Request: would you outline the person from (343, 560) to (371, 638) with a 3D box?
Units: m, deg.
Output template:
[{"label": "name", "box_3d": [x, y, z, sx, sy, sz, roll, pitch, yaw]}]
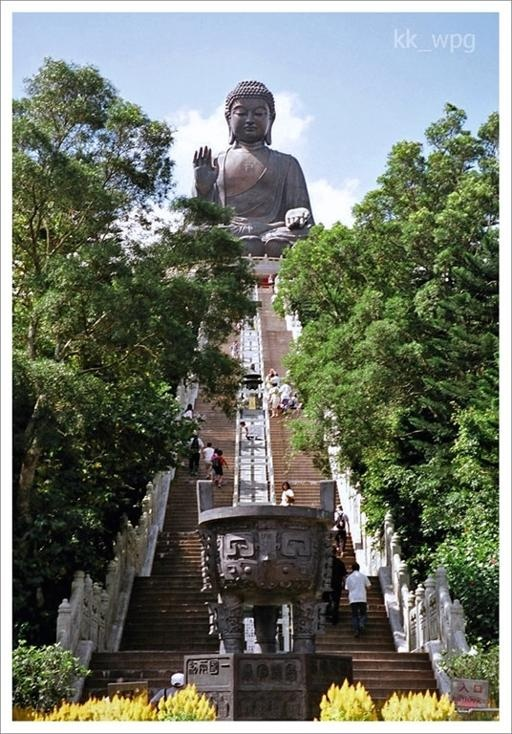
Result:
[{"label": "person", "box_3d": [1.302, 2.993, 8.584, 0.264, 0.865, 0.434, 0, -2, 9]}]
